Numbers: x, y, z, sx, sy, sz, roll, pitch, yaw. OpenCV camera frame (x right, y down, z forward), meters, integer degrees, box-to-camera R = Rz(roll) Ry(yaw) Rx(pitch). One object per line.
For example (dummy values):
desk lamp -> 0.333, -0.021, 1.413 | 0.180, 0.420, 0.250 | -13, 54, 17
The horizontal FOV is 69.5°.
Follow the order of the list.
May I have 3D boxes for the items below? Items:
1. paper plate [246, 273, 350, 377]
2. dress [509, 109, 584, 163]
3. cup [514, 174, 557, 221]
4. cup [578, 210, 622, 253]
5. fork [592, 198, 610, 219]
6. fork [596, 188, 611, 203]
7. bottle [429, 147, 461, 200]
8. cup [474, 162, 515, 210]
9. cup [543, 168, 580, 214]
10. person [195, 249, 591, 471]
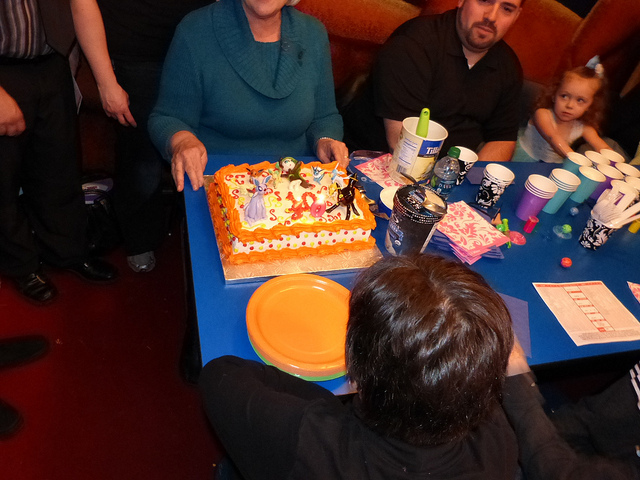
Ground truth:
paper plate -> -0.076, 0.290, 1.615 | 0.320, 0.067, 0.327 | 36, 48, 17
dress -> 1.785, -0.724, 3.591 | 0.441, 0.357, 0.573 | 20, 49, 10
cup -> 1.051, -0.197, 2.240 | 0.151, 0.183, 0.152 | 16, 33, -11
cup -> 1.294, -0.026, 2.190 | 0.146, 0.155, 0.147 | 11, 17, -3
fork -> 1.312, -0.144, 2.153 | 0.085, 0.086, 0.049 | 30, 15, 24
fork -> 1.378, -0.217, 2.246 | 0.082, 0.045, 0.020 | -45, 107, -13
bottle -> 0.615, -0.323, 2.235 | 0.129, 0.238, 0.128 | 8, 34, -5
cup -> 0.839, -0.251, 2.254 | 0.146, 0.178, 0.152 | 6, 33, -4
cup -> 1.198, -0.234, 2.292 | 0.151, 0.170, 0.157 | 12, 36, -9
person -> 0.203, 0.376, 1.450 | 0.542, 0.777, 0.407 | 22, 39, -22
